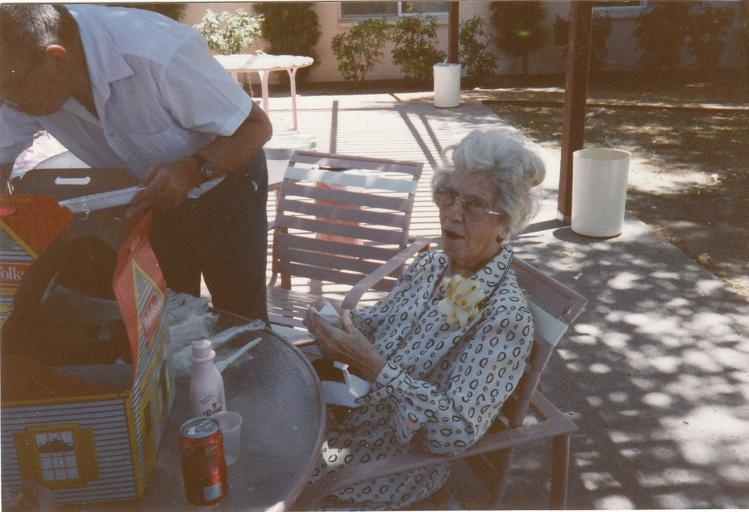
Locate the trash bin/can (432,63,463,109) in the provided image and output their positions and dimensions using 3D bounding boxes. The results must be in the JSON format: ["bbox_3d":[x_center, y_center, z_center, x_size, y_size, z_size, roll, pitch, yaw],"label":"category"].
[{"bbox_3d":[1.340,-3.488,12.376,0.822,0.885,0.759,0,18,-1],"label":"trash bin/can"}]

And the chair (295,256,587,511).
[{"bbox_3d":[0.283,0.559,2.661,1.145,0.984,0.875,-3,16,-8],"label":"chair"}]

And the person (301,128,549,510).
[{"bbox_3d":[0.277,0.281,2.700,1.086,1.663,0.958,6,26,-12],"label":"person"}]

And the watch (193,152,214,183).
[{"bbox_3d":[-0.827,-0.423,2.947,0.082,0.106,0.028,-38,35,-25],"label":"watch"}]

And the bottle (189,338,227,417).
[{"bbox_3d":[-0.572,0.413,2.043,0.109,0.273,0.079,-7,17,-18],"label":"bottle"}]

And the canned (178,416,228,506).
[{"bbox_3d":[-0.530,0.648,1.912,0.170,0.261,0.138,-6,18,-15],"label":"canned"}]

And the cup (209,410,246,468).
[{"bbox_3d":[-0.489,0.603,2.057,0.143,0.171,0.165,-7,19,-18],"label":"cup"}]

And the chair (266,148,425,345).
[{"bbox_3d":[-0.212,-0.061,3.828,1.002,1.313,1.004,11,20,20],"label":"chair"}]
